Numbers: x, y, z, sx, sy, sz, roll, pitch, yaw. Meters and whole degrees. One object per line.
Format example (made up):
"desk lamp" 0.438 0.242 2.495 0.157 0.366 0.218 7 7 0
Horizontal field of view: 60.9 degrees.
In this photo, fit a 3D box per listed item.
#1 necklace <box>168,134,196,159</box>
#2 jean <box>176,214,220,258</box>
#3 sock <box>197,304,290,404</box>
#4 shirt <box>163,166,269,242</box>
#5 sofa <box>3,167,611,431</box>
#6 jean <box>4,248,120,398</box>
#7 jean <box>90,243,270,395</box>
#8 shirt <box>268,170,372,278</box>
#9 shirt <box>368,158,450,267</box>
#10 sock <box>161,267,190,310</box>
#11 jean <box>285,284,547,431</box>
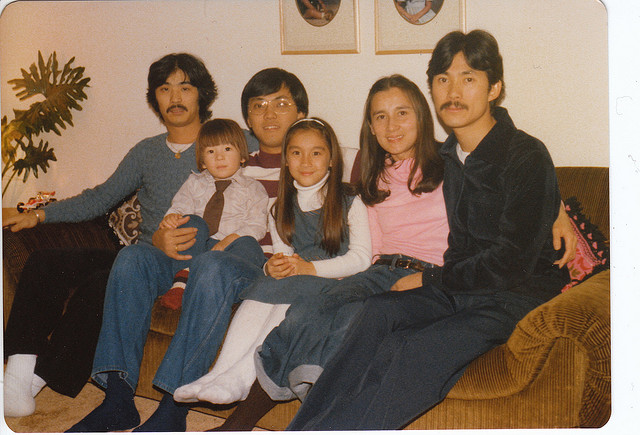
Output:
"necklace" -0.897 -0.458 3.572 0.172 0.191 0.014 8 -32 2
"jean" -0.757 0.114 3.357 0.261 0.231 0.104 0 -9 13
"sock" -0.480 0.871 3.341 0.297 0.246 0.976 -18 18 8
"shirt" -0.650 -0.097 3.468 0.635 0.467 0.335 9 21 -1
"sofa" -0.148 0.461 3.319 3.725 1.444 0.922 0 10 10
"jean" -1.538 0.609 3.368 0.664 0.848 0.293 4 -3 7
"jean" -0.839 0.412 3.482 0.873 0.553 1.507 6 25 10
"shirt" -0.010 0.046 3.351 0.619 0.567 0.354 6 25 22
"shirt" 0.556 -0.004 3.307 0.541 0.654 0.376 -11 -11 11
"sock" -0.829 0.418 3.243 0.146 0.242 0.062 17 -27 17
"jean" 0.623 0.749 3.086 1.554 0.380 0.633 -30 33 -18
